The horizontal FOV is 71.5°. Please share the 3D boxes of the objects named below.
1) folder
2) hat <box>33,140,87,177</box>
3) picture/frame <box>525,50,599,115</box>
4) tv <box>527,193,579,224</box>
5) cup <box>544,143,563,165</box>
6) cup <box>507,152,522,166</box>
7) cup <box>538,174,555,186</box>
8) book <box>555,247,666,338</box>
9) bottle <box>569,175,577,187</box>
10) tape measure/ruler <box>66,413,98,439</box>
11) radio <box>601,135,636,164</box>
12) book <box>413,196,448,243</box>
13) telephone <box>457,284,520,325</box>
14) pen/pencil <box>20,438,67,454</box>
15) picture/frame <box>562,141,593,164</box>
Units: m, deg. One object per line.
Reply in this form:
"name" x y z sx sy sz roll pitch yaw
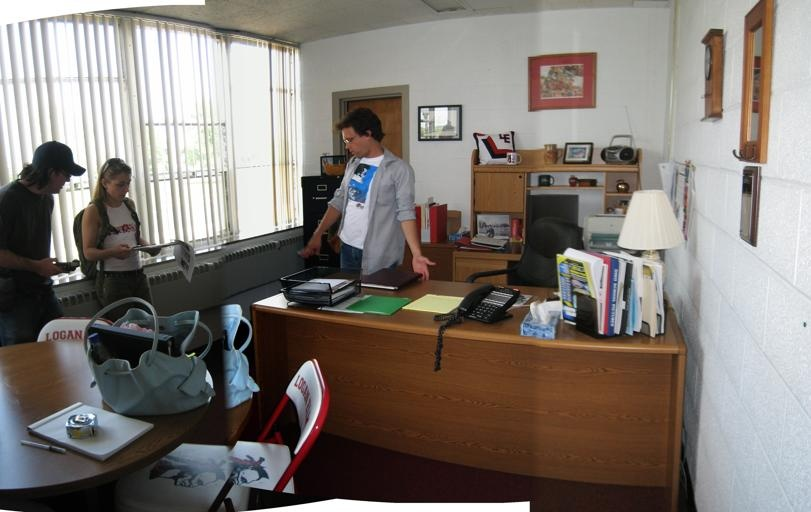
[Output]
"folder" -0.450 0.144 0.921 0.115 0.124 0.017 5 53 -6
"hat" -0.494 -0.139 0.816 0.067 0.037 0.043 3 21 -23
"picture/frame" 0.821 -0.914 2.936 0.334 0.260 0.015 1 6 17
"tv" 0.818 -0.266 3.115 0.191 0.150 0.101 3 16 12
"cup" 0.802 -0.554 3.074 0.088 0.107 0.149 5 15 25
"cup" 0.609 -0.539 3.136 0.093 0.064 0.056 -2 3 -33
"cup" 0.782 -0.422 3.142 0.088 0.056 0.055 2 2 -14
"book" 0.582 0.101 1.600 0.298 0.229 0.151 2 13 13
"bottle" 0.906 -0.408 3.066 0.056 0.062 0.055 0 3 2
"tape measure/ruler" -0.529 0.277 0.921 0.031 0.021 0.040 2 9 -7
"radio" 1.128 -0.559 2.972 0.177 0.149 0.174 4 14 19
"book" 0.162 -0.188 3.412 0.215 0.302 0.345 2 16 11
"telephone" 0.273 0.142 1.757 0.114 0.053 0.156 5 23 33
"pen/pencil" -0.574 0.299 0.890 0.089 0.012 0.014 8 -2 3
"picture/frame" 0.928 -0.552 3.026 0.132 0.107 0.015 4 2 21
